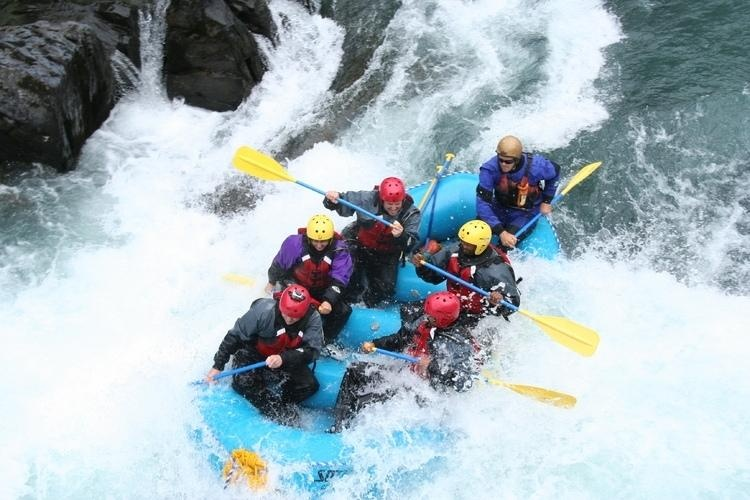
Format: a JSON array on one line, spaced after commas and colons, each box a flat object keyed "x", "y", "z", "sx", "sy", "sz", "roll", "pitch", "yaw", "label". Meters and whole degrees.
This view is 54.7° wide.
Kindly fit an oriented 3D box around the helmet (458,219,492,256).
[{"x": 1.324, "y": -0.177, "z": 9.763, "sx": 0.489, "sy": 0.384, "sz": 0.355, "roll": -19, "pitch": 40, "yaw": -20, "label": "helmet"}]

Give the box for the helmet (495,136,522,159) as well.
[{"x": 1.883, "y": -1.483, "z": 10.251, "sx": 0.305, "sy": 0.315, "sz": 0.327, "roll": 17, "pitch": 65, "yaw": 16, "label": "helmet"}]

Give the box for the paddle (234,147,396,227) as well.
[{"x": -0.963, "y": -0.964, "z": 11.505, "sx": 3.257, "sy": 0.130, "sz": 0.444, "roll": 24, "pitch": 96, "yaw": 5, "label": "paddle"}]

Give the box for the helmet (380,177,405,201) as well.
[{"x": 0.248, "y": -0.873, "z": 10.364, "sx": 0.314, "sy": 0.283, "sz": 0.349, "roll": -1, "pitch": 43, "yaw": -3, "label": "helmet"}]

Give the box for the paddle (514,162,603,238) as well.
[{"x": 2.745, "y": -0.724, "z": 10.991, "sx": 1.789, "sy": 0.048, "sz": 0.208, "roll": -41, "pitch": 65, "yaw": 1, "label": "paddle"}]

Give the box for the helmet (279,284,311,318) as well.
[{"x": -1.032, "y": 0.670, "z": 9.323, "sx": 0.326, "sy": 0.345, "sz": 0.424, "roll": 26, "pitch": 65, "yaw": -4, "label": "helmet"}]

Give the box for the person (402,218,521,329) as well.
[{"x": 1.202, "y": 0.362, "z": 9.951, "sx": 0.698, "sy": 1.211, "sz": 0.845, "roll": -29, "pitch": 74, "yaw": -29, "label": "person"}]

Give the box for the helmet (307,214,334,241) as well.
[{"x": -0.742, "y": -0.338, "z": 9.951, "sx": 0.301, "sy": 0.318, "sz": 0.376, "roll": 3, "pitch": 20, "yaw": -15, "label": "helmet"}]

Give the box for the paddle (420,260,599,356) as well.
[{"x": 1.764, "y": 0.825, "z": 9.832, "sx": 2.303, "sy": 0.195, "sz": 0.314, "roll": 29, "pitch": 102, "yaw": 6, "label": "paddle"}]

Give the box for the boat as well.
[{"x": 0.194, "y": 0.763, "z": 10.033, "sx": 3.001, "sy": 1.027, "sz": 5.356, "roll": 37, "pitch": 44, "yaw": 0, "label": "boat"}]
